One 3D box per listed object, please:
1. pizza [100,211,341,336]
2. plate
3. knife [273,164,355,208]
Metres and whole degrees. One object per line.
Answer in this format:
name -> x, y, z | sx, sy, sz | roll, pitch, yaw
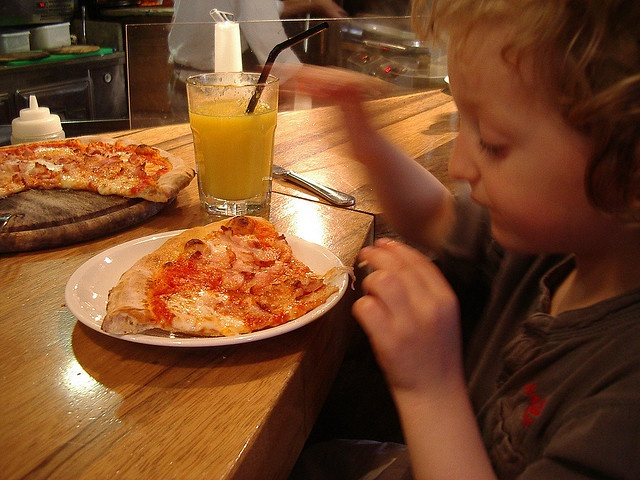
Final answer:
pizza -> -0.170, 0.060, 0.718 | 0.211, 0.025, 0.200 | -16, 29, -28
plate -> -0.221, 0.080, 0.752 | 0.241, 0.031, 0.229 | -10, 26, -28
knife -> -0.038, -0.150, 1.172 | 0.073, 0.022, 0.407 | -14, 21, -25
